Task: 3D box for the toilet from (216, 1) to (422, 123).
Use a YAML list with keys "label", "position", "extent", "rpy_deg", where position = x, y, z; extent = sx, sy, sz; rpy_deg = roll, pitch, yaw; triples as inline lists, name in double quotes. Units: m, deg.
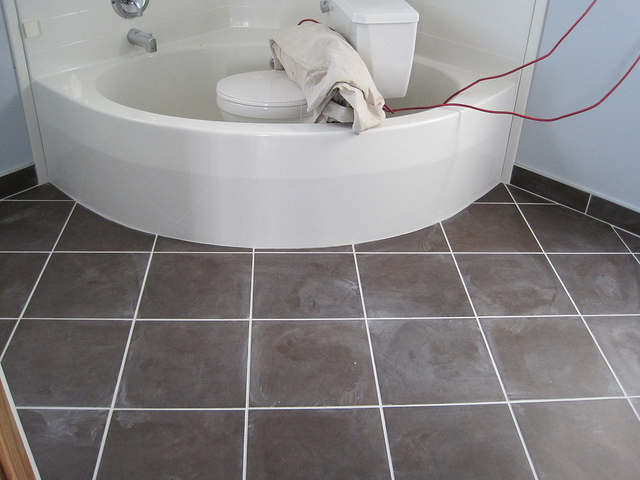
- label: "toilet"
  position: [0.066, -0.723, 1.977]
  extent: [0.542, 0.267, 0.733]
  rpy_deg: [23, 37, 38]
